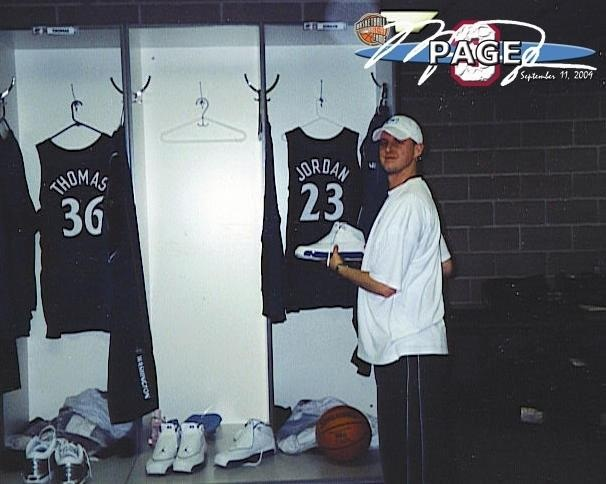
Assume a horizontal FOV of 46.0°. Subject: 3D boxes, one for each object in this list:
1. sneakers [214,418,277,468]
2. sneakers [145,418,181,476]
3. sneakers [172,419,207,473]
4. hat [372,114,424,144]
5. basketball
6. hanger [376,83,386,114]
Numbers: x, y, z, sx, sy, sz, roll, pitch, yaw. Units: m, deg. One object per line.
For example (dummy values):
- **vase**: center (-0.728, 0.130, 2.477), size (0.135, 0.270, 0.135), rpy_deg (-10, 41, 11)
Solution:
- **sneakers**: center (-0.302, 1.045, 3.732), size (0.321, 0.232, 0.112), rpy_deg (1, 1, -7)
- **sneakers**: center (-0.729, 1.073, 3.694), size (0.096, 0.158, 0.328), rpy_deg (2, 6, 3)
- **sneakers**: center (-0.584, 1.064, 3.630), size (0.094, 0.144, 0.293), rpy_deg (0, -1, -1)
- **hat**: center (0.480, -0.548, 3.503), size (0.166, 0.107, 0.132), rpy_deg (15, 0, -24)
- **basketball**: center (0.201, 0.976, 3.662), size (0.221, 0.330, 0.252), rpy_deg (-5, 13, 1)
- **hanger**: center (0.391, -0.732, 3.643), size (0.058, 0.144, 0.038), rpy_deg (0, 5, -21)
